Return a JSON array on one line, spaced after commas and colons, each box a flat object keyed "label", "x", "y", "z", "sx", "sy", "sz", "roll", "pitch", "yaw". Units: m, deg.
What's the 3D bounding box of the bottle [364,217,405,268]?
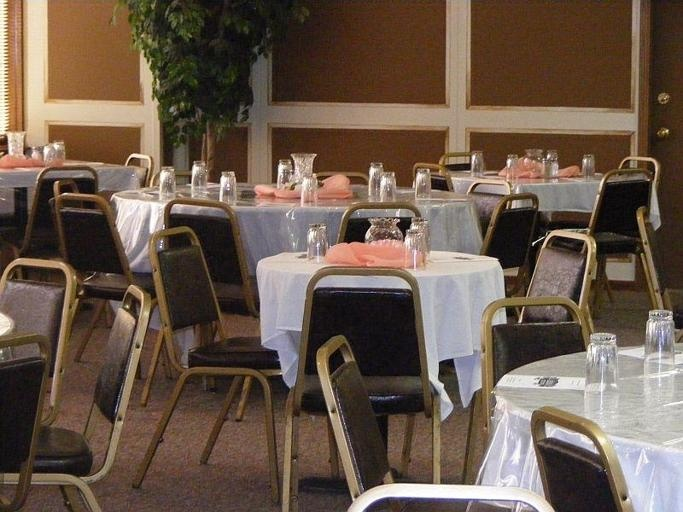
[{"label": "bottle", "x": 0.203, "y": -0.098, "z": 3.062, "sx": 0.122, "sy": 0.149, "sz": 0.137, "roll": 1, "pitch": -6, "yaw": -8}]

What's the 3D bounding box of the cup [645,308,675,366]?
[{"label": "cup", "x": 0.921, "y": 0.222, "z": 1.867, "sx": 0.077, "sy": 0.172, "sz": 0.178, "roll": 5, "pitch": 10, "yaw": 27}]

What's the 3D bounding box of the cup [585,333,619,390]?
[{"label": "cup", "x": 0.663, "y": 0.258, "z": 1.643, "sx": 0.073, "sy": 0.144, "sz": 0.151, "roll": 4, "pitch": 10, "yaw": 23}]

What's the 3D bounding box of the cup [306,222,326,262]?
[{"label": "cup", "x": -0.123, "y": -0.077, "z": 3.006, "sx": 0.121, "sy": 0.223, "sz": 0.128, "roll": 1, "pitch": -1, "yaw": 0}]

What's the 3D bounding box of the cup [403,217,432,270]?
[{"label": "cup", "x": 0.341, "y": -0.065, "z": 2.893, "sx": 0.097, "sy": 0.192, "sz": 0.224, "roll": 2, "pitch": 10, "yaw": 11}]
